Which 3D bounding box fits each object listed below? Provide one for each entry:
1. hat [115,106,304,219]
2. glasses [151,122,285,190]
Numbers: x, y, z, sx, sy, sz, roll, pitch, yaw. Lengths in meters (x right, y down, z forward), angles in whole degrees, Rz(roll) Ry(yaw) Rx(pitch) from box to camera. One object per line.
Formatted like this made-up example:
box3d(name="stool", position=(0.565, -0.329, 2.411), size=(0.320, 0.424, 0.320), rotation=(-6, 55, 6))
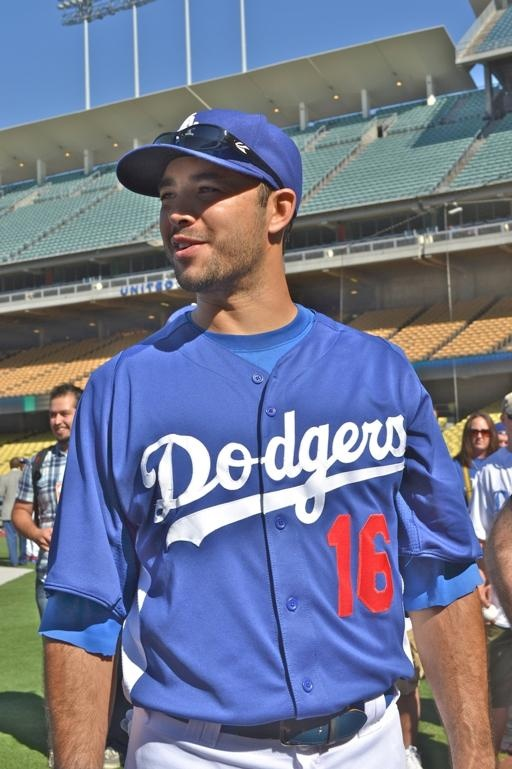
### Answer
box3d(name="hat", position=(-0.066, -0.401, 1.860), size=(0.315, 0.147, 0.220), rotation=(18, -11, -25))
box3d(name="glasses", position=(-0.088, -0.399, 1.795), size=(0.158, 0.040, 0.157), rotation=(29, -12, -38))
